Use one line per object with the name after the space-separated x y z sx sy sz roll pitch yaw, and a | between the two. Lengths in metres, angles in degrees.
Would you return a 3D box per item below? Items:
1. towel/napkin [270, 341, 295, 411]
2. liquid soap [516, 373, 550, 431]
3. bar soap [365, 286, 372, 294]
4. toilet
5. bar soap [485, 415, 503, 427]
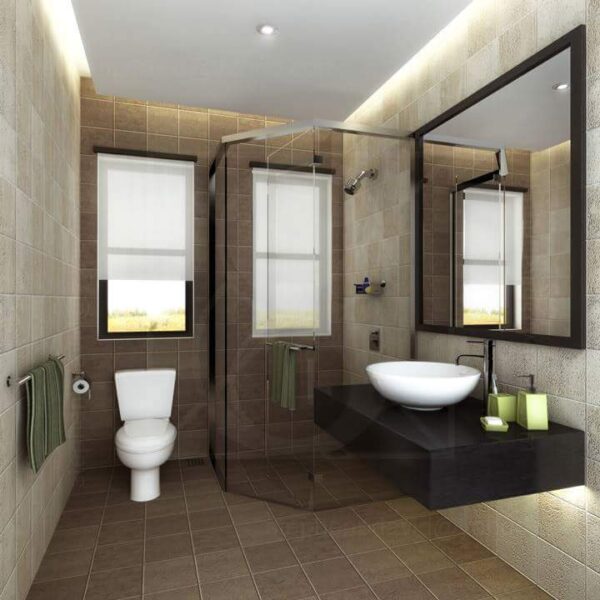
-0.095 0.423 2.883 0.210 0.363 0.039 3 5 45 | towel/napkin
0.969 0.428 2.106 0.109 0.294 0.197 0 -2 0 | liquid soap
0.375 -0.051 2.755 0.030 0.063 0.030 2 -4 -10 | bar soap
-0.989 0.815 3.298 0.412 0.801 0.739 0 -3 -9 | toilet
0.791 0.497 2.078 0.065 0.024 0.040 1 4 18 | bar soap
